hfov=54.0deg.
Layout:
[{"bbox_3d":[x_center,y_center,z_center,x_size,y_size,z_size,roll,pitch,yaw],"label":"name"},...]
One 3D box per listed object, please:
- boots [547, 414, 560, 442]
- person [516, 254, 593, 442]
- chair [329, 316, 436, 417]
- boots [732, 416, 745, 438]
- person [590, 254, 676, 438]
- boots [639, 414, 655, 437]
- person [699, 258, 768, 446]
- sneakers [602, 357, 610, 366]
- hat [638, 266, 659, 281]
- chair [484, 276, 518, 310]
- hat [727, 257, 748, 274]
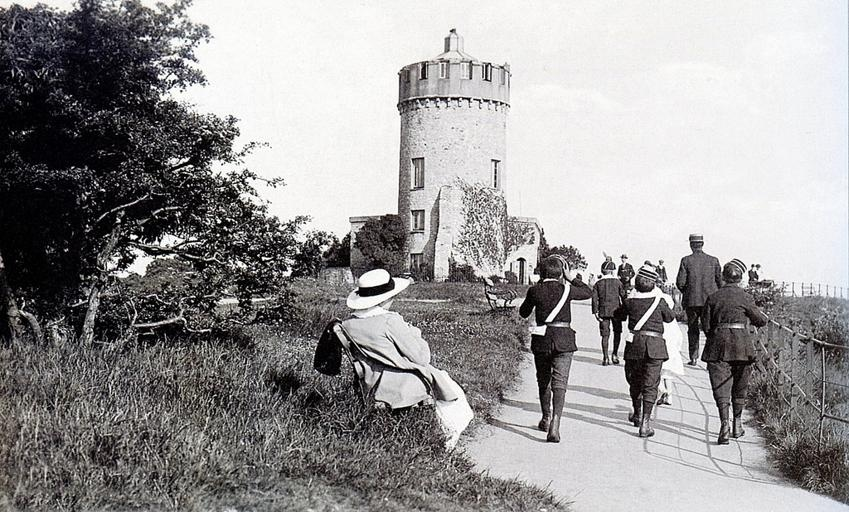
[{"bbox_3d":[2.192,2.954,14.239,0.189,0.518,0.341,-4,10,3],"label":"boots"},{"bbox_3d":[2.222,1.587,14.578,0.981,3.181,0.743,2,-2,23],"label":"person"},{"bbox_3d":[-0.621,1.549,13.068,1.425,1.672,1.136,-8,10,31],"label":"chair"},{"bbox_3d":[5.536,2.981,14.690,0.173,0.367,0.507,-1,3,24],"label":"boots"},{"bbox_3d":[3.944,1.669,14.985,0.848,2.994,0.961,3,-2,-3],"label":"person"},{"bbox_3d":[3.904,2.967,14.602,0.419,0.374,0.192,4,-3,-42],"label":"boots"},{"bbox_3d":[5.355,1.638,14.537,0.916,3.191,0.835,4,-2,-35],"label":"person"},{"bbox_3d":[4.439,2.591,20.398,0.122,0.283,0.378,-3,-13,3],"label":"sneakers"},{"bbox_3d":[3.954,0.328,14.828,0.267,0.200,0.357,16,-2,36],"label":"hat"},{"bbox_3d":[2.830,1.596,31.113,1.431,1.660,1.321,-1,4,5],"label":"chair"},{"bbox_3d":[4.860,0.183,13.041,0.211,0.082,0.169,41,20,33],"label":"hat"}]
